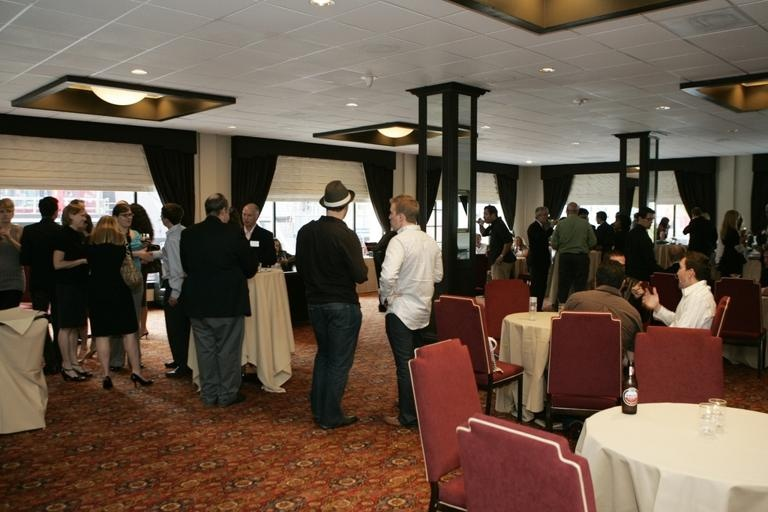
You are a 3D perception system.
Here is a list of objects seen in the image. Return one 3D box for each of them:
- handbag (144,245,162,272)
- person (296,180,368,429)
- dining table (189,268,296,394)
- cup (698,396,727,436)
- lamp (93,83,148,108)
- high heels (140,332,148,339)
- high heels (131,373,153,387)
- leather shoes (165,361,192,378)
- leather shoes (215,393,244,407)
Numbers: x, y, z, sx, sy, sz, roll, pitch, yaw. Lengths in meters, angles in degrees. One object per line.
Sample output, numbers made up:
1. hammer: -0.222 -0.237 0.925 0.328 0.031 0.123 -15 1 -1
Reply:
1. handbag: -3.554 0.057 8.503 0.357 0.453 0.166 6 7 43
2. person: -0.491 0.657 5.543 0.639 2.066 0.513 -5 14 -15
3. dining table: -1.349 0.865 6.472 1.482 1.712 1.367 0 2 -3
4. cup: 2.010 0.973 3.391 0.198 0.188 0.186 0 -1 0
5. lamp: -4.058 -2.454 8.576 0.717 0.169 1.292 -6 13 -22
6. high heels: -3.880 1.286 8.997 0.076 0.164 0.055 9 12 -14
7. high heels: -2.944 1.485 6.690 0.258 0.159 0.132 -4 10 -37
8. leather shoes: -2.715 1.465 7.128 0.482 0.185 0.151 1 4 -6
9. leather shoes: -1.687 1.573 6.141 0.303 0.107 0.140 -9 15 -33
